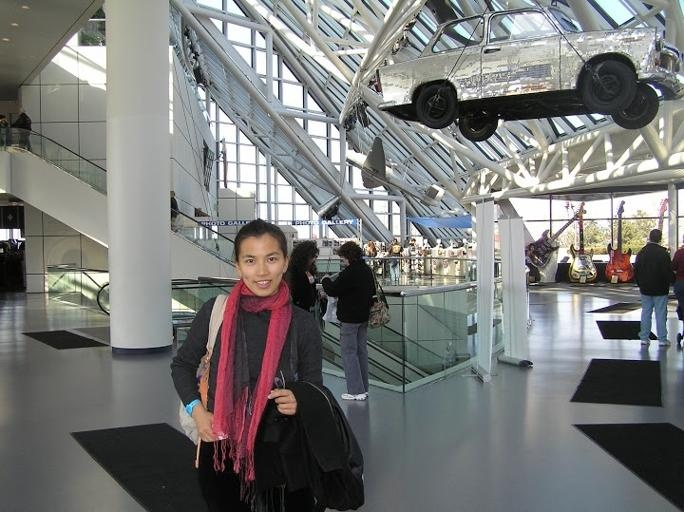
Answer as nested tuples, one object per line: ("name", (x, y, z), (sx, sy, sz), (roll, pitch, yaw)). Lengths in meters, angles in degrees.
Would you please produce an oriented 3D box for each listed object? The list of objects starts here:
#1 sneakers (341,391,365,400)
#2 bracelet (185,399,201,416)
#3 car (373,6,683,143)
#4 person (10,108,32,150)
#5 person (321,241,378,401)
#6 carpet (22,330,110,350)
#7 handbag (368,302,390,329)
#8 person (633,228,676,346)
("sneakers", (0.155, 1.828, 7.279), (0.291, 0.135, 0.115), (6, -5, 5))
("bracelet", (-0.865, 0.863, 3.185), (0.095, 0.077, 0.052), (34, -22, 40))
("car", (3.458, -3.634, 10.202), (5.040, 2.390, 2.320), (1, 4, 17))
("person", (-10.065, -3.912, 17.269), (0.508, 1.257, 1.599), (-2, 5, -31))
("person", (0.119, 0.848, 7.197), (0.684, 2.089, 0.375), (0, 4, -7))
("carpet", (-5.524, 1.679, 10.972), (2.407, 0.067, 0.889), (4, 6, 44))
("handbag", (0.483, 0.761, 7.202), (0.377, 0.442, 0.193), (2, -4, -38))
("person", (5.886, 0.579, 10.391), (0.630, 2.193, 0.887), (3, 5, 33))
